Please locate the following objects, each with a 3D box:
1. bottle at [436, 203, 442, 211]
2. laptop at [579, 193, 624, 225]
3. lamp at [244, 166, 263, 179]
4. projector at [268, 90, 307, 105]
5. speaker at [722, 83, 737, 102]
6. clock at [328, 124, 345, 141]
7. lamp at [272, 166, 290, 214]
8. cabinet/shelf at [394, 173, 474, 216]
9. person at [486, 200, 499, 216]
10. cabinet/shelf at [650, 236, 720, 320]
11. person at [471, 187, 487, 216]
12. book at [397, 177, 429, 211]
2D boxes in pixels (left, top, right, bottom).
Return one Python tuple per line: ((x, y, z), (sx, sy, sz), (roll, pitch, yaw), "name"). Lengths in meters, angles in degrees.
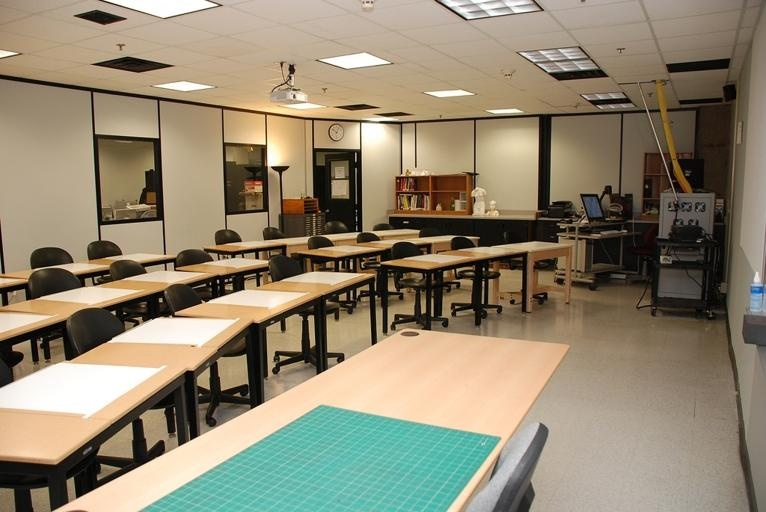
((1.348, -1.201, 13.269), (0.166, 0.167, 0.157), (-4, 9, -28), "bottle")
((4.122, -0.931, 10.529), (0.313, 0.558, 0.803), (4, 10, 37), "laptop")
((-2.950, -1.886, 12.273), (0.453, 0.280, 0.453), (2, 7, 34), "lamp")
((-1.325, -2.184, 7.386), (0.345, 0.116, 0.348), (8, 12, 37), "projector")
((5.774, -2.737, 8.955), (0.174, 0.285, 0.315), (-4, 8, -8), "speaker")
((-1.180, -3.001, 13.036), (0.436, 0.374, 0.042), (-8, 11, -23), "clock")
((-2.331, -1.499, 12.253), (0.370, 1.109, 0.570), (-4, 8, -8), "lamp")
((1.133, -1.560, 13.571), (2.116, 0.958, 0.413), (-3, 11, -20), "cabinet/shelf")
((2.607, -1.145, 12.777), (0.262, 0.340, 0.739), (-1, 8, 12), "person")
((4.466, 0.313, 8.002), (0.818, 1.194, 0.821), (2, 9, 26), "cabinet/shelf")
((2.279, -1.312, 12.851), (0.361, 0.660, 0.659), (-1, 8, 9), "person")
((0.746, -1.561, 13.477), (0.923, 0.802, 0.294), (1, 4, 25), "book")
